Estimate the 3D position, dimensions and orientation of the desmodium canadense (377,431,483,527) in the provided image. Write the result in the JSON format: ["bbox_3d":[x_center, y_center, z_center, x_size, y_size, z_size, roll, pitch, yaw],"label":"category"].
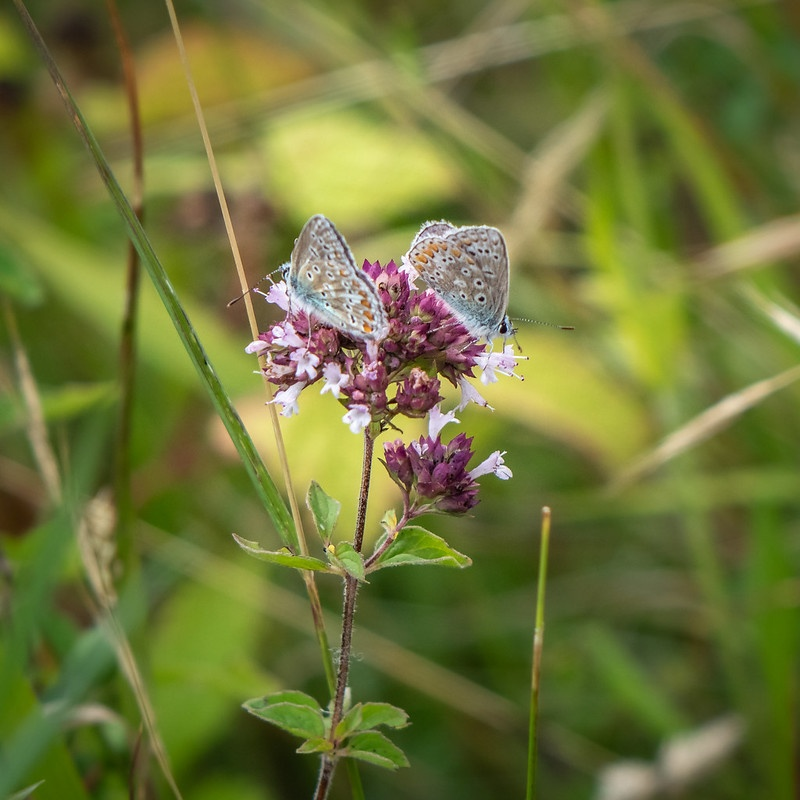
[{"bbox_3d":[0.111,0.316,4.172,0.371,0.356,0.405,35,-99,-13],"label":"desmodium canadense"}]

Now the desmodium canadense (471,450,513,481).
[{"bbox_3d":[0.389,0.314,4.138,0.164,0.179,0.080,-11,-96,-22],"label":"desmodium canadense"}]
